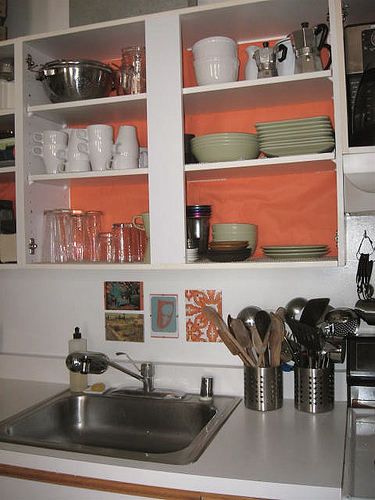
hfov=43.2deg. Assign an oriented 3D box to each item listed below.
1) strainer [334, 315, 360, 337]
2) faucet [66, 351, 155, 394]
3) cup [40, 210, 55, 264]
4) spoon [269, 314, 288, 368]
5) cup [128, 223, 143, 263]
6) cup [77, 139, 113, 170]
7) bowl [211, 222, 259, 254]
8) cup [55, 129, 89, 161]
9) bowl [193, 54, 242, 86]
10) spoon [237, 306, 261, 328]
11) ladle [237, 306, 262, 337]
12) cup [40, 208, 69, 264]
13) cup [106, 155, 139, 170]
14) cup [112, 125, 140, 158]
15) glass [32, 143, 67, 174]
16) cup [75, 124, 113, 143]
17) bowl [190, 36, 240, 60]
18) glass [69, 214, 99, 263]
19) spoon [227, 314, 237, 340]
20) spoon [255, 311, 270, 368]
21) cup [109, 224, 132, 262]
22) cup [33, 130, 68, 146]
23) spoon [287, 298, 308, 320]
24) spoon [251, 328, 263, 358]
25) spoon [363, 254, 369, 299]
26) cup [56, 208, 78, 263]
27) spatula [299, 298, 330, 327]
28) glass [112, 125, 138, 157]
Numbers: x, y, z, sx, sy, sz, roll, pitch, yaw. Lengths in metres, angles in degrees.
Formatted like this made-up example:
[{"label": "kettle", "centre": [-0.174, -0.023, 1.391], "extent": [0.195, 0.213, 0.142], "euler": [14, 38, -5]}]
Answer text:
[{"label": "strainer", "centre": [0.472, 0.232, 1.398], "extent": [0.064, 0.065, 0.026], "euler": [13, 11, 14]}, {"label": "faucet", "centre": [-0.246, 0.405, 1.599], "extent": [0.294, 0.125, 0.151], "euler": [5, -13, -22]}, {"label": "cup", "centre": [-0.521, -0.050, 1.756], "extent": [0.054, 0.189, 0.050], "euler": [-2, -2, 0]}, {"label": "spoon", "centre": [0.282, 0.291, 1.503], "extent": [0.048, 0.164, 0.048], "euler": [-3, -2, 29]}, {"label": "cup", "centre": [-0.181, -0.028, 1.750], "extent": [0.084, 0.138, 0.081], "euler": [-1, -2, 0]}, {"label": "cup", "centre": [-0.305, -0.337, 1.654], "extent": [0.127, 0.117, 0.083], "euler": [1, 10, 3]}, {"label": "bowl", "centre": [0.163, -0.035, 1.514], "extent": [0.093, 0.072, 0.103], "euler": [-1, 2, -44]}, {"label": "cup", "centre": [-0.396, -0.356, 1.641], "extent": [0.080, 0.120, 0.102], "euler": [0, 13, -6]}, {"label": "bowl", "centre": [0.083, -0.549, 1.466], "extent": [0.098, 0.051, 0.098], "euler": [-3, 12, 1]}, {"label": "spoon", "centre": [0.212, 0.227, 1.629], "extent": [0.072, 0.085, 0.074], "euler": [-2, -2, 10]}, {"label": "ladle", "centre": [0.209, 0.245, 1.628], "extent": [0.084, 0.097, 0.084], "euler": [3, 1, 3]}, {"label": "cup", "centre": [-0.497, -0.052, 1.762], "extent": [0.091, 0.189, 0.065], "euler": [-2, -2, 2]}, {"label": "cup", "centre": [-0.214, -0.291, 1.574], "extent": [0.090, 0.061, 0.057], "euler": [0, 2, 5]}, {"label": "cup", "centre": [-0.201, -0.361, 1.575], "extent": [0.088, 0.105, 0.085], "euler": [1, 13, 0]}, {"label": "glass", "centre": [-0.493, -0.332, 1.730], "extent": [0.094, 0.123, 0.104], "euler": [8, 13, 25]}, {"label": "cup", "centre": [-0.317, -0.387, 1.593], "extent": [0.105, 0.049, 0.067], "euler": [-2, 5, 4]}, {"label": "bowl", "centre": [0.082, -0.610, 1.446], "extent": [0.096, 0.035, 0.087], "euler": [-3, 6, 9]}, {"label": "glass", "centre": [-0.389, -0.046, 1.798], "extent": [0.102, 0.187, 0.069], "euler": [4, 12, 16]}, {"label": "spoon", "centre": [0.145, 0.254, 1.563], "extent": [0.019, 0.081, 0.015], "euler": [-17, 3, 35]}, {"label": "spoon", "centre": [0.247, 0.284, 1.509], "extent": [0.039, 0.183, 0.061], "euler": [-3, -2, 36]}, {"label": "cup", "centre": [-0.243, -0.019, 1.764], "extent": [0.089, 0.147, 0.091], "euler": [-2, -16, -1]}, {"label": "cup", "centre": [-0.483, -0.394, 1.669], "extent": [0.100, 0.068, 0.065], "euler": [1, 9, 0]}, {"label": "spoon", "centre": [0.363, 0.200, 1.598], "extent": [0.051, 0.061, 0.071], "euler": [-22, 2, -26]}, {"label": "spoon", "centre": [0.224, 0.293, 1.513], "extent": [0.024, 0.102, 0.014], "euler": [-5, 2, 15]}, {"label": "spoon", "centre": [0.555, 0.082, 1.473], "extent": [0.016, 0.089, 0.073], "euler": [-3, -2, 17]}, {"label": "cup", "centre": [-0.455, -0.048, 1.774], "extent": [0.077, 0.167, 0.045], "euler": [-2, -2, -14]}, {"label": "spatula", "centre": [0.385, 0.187, 1.439], "extent": [0.076, 0.088, 0.032], "euler": [6, 45, -7]}, {"label": "glass", "centre": [-0.204, -0.360, 1.574], "extent": [0.077, 0.108, 0.108], "euler": [5, 5, 15]}]
